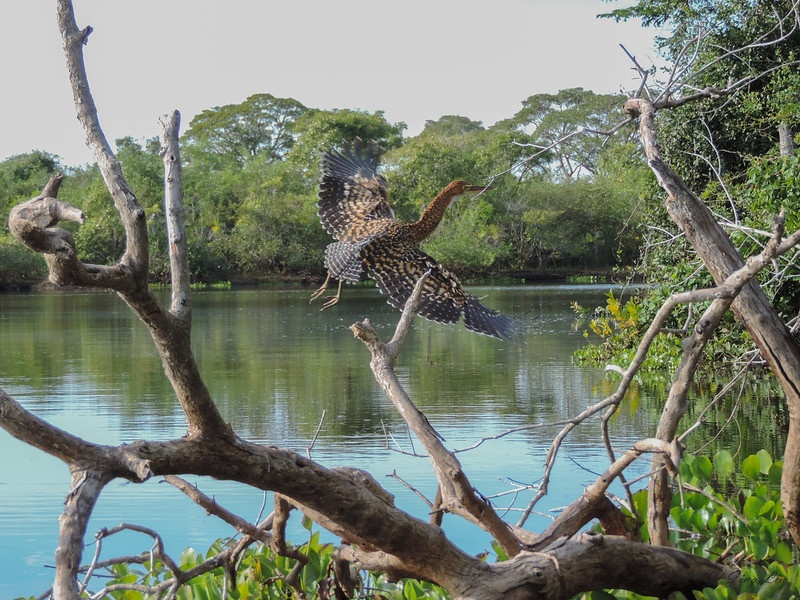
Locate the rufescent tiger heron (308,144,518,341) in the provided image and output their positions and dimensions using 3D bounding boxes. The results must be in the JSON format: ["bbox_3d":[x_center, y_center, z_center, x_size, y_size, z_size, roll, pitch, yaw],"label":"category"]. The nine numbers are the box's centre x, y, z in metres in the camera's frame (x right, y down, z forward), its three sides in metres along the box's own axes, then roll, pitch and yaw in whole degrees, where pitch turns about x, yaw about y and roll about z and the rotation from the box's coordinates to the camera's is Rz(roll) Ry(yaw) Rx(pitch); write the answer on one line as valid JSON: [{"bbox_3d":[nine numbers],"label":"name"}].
[{"bbox_3d":[-0.131,-0.578,11.810,2.086,1.751,1.411,-4,1,42],"label":"rufescent tiger heron"}]
